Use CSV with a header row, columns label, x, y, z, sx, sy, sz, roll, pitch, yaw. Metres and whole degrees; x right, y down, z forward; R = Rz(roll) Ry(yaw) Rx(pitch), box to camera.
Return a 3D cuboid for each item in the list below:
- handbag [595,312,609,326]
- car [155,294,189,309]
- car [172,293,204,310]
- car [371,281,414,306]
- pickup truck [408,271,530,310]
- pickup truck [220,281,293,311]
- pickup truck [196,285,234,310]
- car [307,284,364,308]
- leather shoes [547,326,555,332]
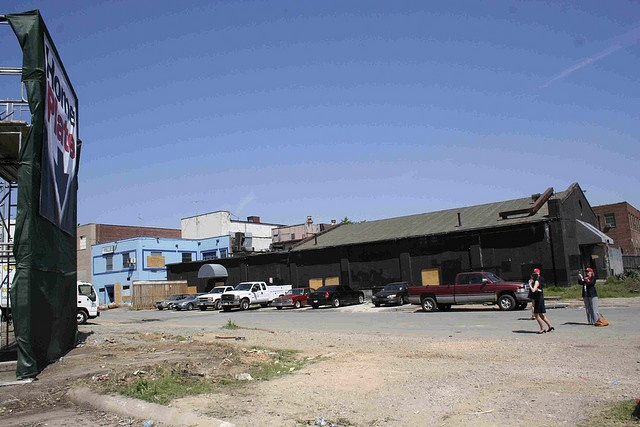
label,x,y,z,sx,sy,sz,roll,pitch,yaw
handbag,10.538,3.989,20.020,0.437,0.230,0.573,0,2,9
car,-13.279,7.889,47.798,1.520,1.098,3.251,-9,-12,43
car,-11.097,7.522,45.885,1.438,0.900,2.837,-8,-12,38
car,5.121,5.420,35.977,1.366,1.089,2.538,-8,-15,30
pickup truck,8.033,4.190,28.103,5.315,1.774,2.428,-8,-8,28
pickup truck,-5.108,6.347,41.689,2.310,1.740,5.239,-10,-12,37
pickup truck,-8.327,6.872,43.051,1.726,1.388,3.278,-6,-11,32
car,1.283,5.950,38.493,1.566,1.043,3.518,-2,-1,43
leather shoes,8.262,4.117,19.061,0.199,0.183,0.447,-4,-3,24
